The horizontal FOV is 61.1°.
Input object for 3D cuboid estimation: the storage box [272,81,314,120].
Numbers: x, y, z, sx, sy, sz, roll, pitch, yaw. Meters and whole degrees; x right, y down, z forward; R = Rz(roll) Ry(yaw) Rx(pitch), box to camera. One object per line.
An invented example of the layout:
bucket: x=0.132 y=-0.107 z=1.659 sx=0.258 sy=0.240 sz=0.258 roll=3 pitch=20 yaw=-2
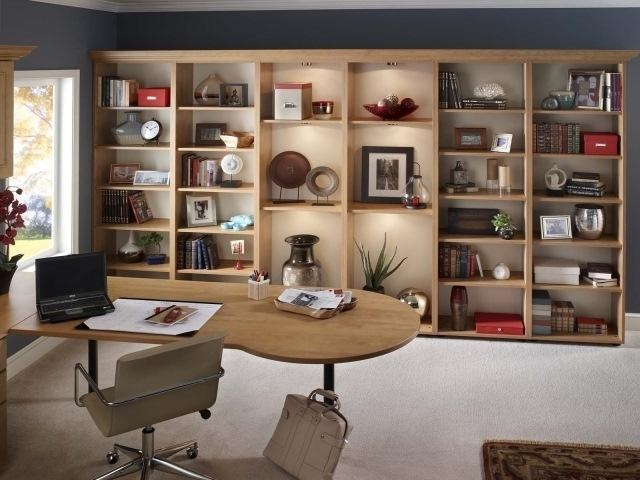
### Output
storage box: x=-0.137 y=-1.281 z=5.091 sx=0.462 sy=0.310 sz=0.438 roll=-9 pitch=18 yaw=-36

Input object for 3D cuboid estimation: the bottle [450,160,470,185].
bottle: x=1.295 y=-0.626 z=5.026 sx=0.172 sy=0.231 sz=0.197 roll=2 pitch=6 yaw=13

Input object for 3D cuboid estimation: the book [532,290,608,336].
book: x=2.290 y=0.672 z=4.991 sx=0.651 sy=0.369 sz=0.357 roll=2 pitch=6 yaw=15

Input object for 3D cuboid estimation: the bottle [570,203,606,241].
bottle: x=2.415 y=-0.148 z=4.930 sx=0.294 sy=0.238 sz=0.274 roll=0 pitch=6 yaw=-3

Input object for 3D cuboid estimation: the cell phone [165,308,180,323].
cell phone: x=-0.858 y=0.444 z=3.140 sx=0.055 sy=0.014 sz=0.142 roll=2 pitch=12 yaw=-1

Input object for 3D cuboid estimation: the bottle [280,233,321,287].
bottle: x=-0.189 y=0.267 z=5.112 sx=0.418 sy=0.485 sz=0.359 roll=5 pitch=9 yaw=13

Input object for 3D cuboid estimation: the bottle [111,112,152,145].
bottle: x=-1.815 y=-1.057 z=5.274 sx=0.437 sy=0.242 sz=0.334 roll=-1 pitch=4 yaw=-5

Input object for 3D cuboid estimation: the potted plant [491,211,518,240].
potted plant: x=1.700 y=-0.135 z=5.006 sx=0.230 sy=0.243 sz=0.315 roll=2 pitch=6 yaw=18

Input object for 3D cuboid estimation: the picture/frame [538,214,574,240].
picture/frame: x=2.127 y=-0.104 z=4.872 sx=0.307 sy=0.208 sz=0.027 roll=1 pitch=-8 yaw=7

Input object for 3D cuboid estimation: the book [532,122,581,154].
book: x=2.060 y=-0.883 z=4.746 sx=0.393 sy=0.267 sz=0.078 roll=1 pitch=6 yaw=5

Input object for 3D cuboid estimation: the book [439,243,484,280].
book: x=1.330 y=0.195 z=5.095 sx=0.445 sy=0.330 sz=0.192 roll=0 pitch=6 yaw=-8

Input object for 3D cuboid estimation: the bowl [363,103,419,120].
bowl: x=0.652 y=-1.174 z=4.974 sx=0.475 sy=0.172 sz=0.301 roll=1 pitch=6 yaw=3

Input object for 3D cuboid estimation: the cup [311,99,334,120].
cup: x=0.020 y=-1.206 z=5.038 sx=0.188 sy=0.175 sz=0.166 roll=1 pitch=6 yaw=4

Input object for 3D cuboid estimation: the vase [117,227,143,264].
vase: x=-1.882 y=0.063 z=5.420 sx=0.288 sy=0.319 sz=0.258 roll=-2 pitch=13 yaw=-21

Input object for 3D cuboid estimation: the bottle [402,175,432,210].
bottle: x=0.885 y=-0.432 z=4.972 sx=0.340 sy=0.279 sz=0.297 roll=1 pitch=8 yaw=13

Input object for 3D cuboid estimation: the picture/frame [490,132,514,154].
picture/frame: x=1.647 y=-0.872 z=4.885 sx=0.253 sy=0.224 sz=0.019 roll=14 pitch=-3 yaw=36

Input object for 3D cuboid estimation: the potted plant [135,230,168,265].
potted plant: x=-1.664 y=0.085 z=5.410 sx=0.291 sy=0.254 sz=0.249 roll=8 pitch=-1 yaw=-33

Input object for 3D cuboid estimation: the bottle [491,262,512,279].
bottle: x=1.686 y=0.286 z=5.022 sx=0.178 sy=0.121 sz=0.157 roll=1 pitch=2 yaw=13

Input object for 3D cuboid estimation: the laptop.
laptop: x=-1.444 y=0.291 z=3.197 sx=0.427 sy=0.248 sz=0.294 roll=-5 pitch=27 yaw=-27

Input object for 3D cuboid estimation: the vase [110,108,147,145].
vase: x=-1.822 y=-1.083 z=5.290 sx=0.441 sy=0.250 sz=0.334 roll=0 pitch=6 yaw=-3

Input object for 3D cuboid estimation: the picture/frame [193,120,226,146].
picture/frame: x=-1.060 y=-1.028 z=5.268 sx=0.357 sy=0.205 sz=0.021 roll=1 pitch=3 yaw=6

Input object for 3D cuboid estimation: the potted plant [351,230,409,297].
potted plant: x=0.581 y=0.272 z=5.200 sx=0.660 sy=0.529 sz=0.423 roll=8 pitch=11 yaw=15

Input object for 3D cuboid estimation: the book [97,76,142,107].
book: x=-1.908 y=-1.372 z=5.250 sx=0.347 sy=0.343 sz=0.410 roll=3 pitch=9 yaw=6

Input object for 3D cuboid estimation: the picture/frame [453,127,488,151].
picture/frame: x=1.378 y=-0.919 z=4.941 sx=0.308 sy=0.174 sz=0.020 roll=0 pitch=-1 yaw=2

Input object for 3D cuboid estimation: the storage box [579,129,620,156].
storage box: x=2.418 y=-0.829 z=4.661 sx=0.272 sy=0.125 sz=0.240 roll=1 pitch=6 yaw=12

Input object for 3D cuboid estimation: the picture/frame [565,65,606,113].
picture/frame: x=2.315 y=-1.306 z=4.740 sx=0.379 sy=0.342 sz=0.042 roll=-5 pitch=10 yaw=-17

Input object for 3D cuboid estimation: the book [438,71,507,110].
book: x=1.354 y=-1.328 z=4.905 sx=0.780 sy=0.318 sz=0.431 roll=1 pitch=3 yaw=5

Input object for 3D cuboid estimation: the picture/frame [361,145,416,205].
picture/frame: x=0.670 y=-0.629 z=5.138 sx=0.752 sy=0.637 sz=0.061 roll=1 pitch=6 yaw=6

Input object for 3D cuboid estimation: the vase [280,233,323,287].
vase: x=-0.161 y=0.246 z=5.105 sx=0.415 sy=0.481 sz=0.344 roll=-5 pitch=19 yaw=-14

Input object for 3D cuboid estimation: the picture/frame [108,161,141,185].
picture/frame: x=-1.933 y=-0.650 z=5.347 sx=0.325 sy=0.202 sz=0.027 roll=0 pitch=3 yaw=-7

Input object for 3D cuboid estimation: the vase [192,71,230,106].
vase: x=-1.021 y=-1.435 z=5.229 sx=0.389 sy=0.263 sz=0.339 roll=0 pitch=3 yaw=-1

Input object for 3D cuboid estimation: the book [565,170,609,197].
book: x=2.331 y=-0.498 z=4.765 sx=0.285 sy=0.141 sz=0.272 roll=-7 pitch=9 yaw=-35

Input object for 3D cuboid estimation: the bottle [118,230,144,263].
bottle: x=-1.885 y=0.061 z=5.413 sx=0.289 sy=0.316 sz=0.249 roll=4 pitch=15 yaw=-6

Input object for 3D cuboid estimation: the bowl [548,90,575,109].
bowl: x=2.111 y=-1.218 z=4.741 sx=0.216 sy=0.122 sz=0.168 roll=2 pitch=7 yaw=21
